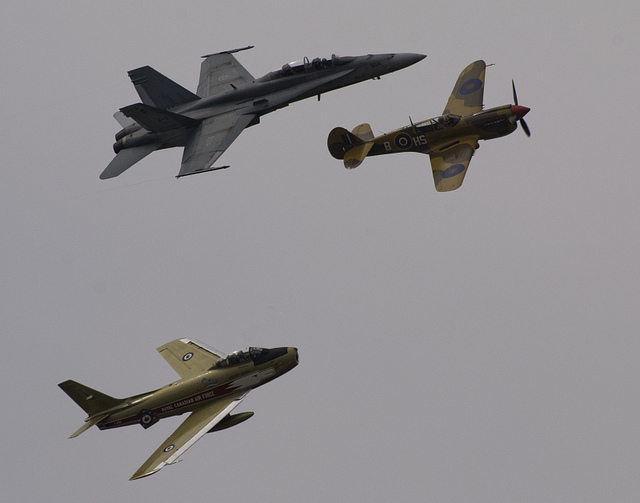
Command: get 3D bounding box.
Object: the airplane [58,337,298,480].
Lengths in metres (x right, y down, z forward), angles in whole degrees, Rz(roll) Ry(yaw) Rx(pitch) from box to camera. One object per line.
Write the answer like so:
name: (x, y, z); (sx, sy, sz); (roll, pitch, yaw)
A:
airplane: (-3.953, 4.436, 36.442); (5.346, 5.874, 1.615); (-18, -64, 5)

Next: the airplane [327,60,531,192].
airplane: (3.716, -4.077, 39.860); (6.288, 7.039, 1.827); (-11, -57, 15)

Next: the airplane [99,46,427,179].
airplane: (-2.221, -5.506, 44.012); (11.041, 7.654, 2.307); (-11, -52, 3)
